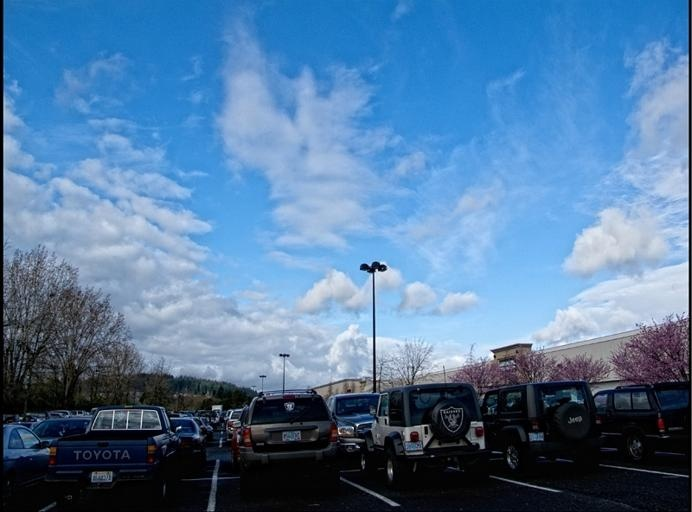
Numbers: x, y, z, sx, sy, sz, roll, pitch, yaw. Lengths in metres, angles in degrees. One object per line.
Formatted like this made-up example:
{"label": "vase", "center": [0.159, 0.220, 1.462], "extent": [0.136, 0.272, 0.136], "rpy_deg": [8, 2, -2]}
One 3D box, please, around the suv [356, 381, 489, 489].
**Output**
{"label": "suv", "center": [1.825, 4.634, 13.349], "extent": [2.001, 2.029, 3.703], "rpy_deg": [3, -11, -16]}

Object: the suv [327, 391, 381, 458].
{"label": "suv", "center": [0.465, 5.685, 17.593], "extent": [1.527, 1.624, 3.255], "rpy_deg": [1, -28, -11]}

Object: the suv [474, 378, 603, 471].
{"label": "suv", "center": [5.303, 4.802, 14.607], "extent": [2.156, 2.157, 3.902], "rpy_deg": [3, -9, -17]}
